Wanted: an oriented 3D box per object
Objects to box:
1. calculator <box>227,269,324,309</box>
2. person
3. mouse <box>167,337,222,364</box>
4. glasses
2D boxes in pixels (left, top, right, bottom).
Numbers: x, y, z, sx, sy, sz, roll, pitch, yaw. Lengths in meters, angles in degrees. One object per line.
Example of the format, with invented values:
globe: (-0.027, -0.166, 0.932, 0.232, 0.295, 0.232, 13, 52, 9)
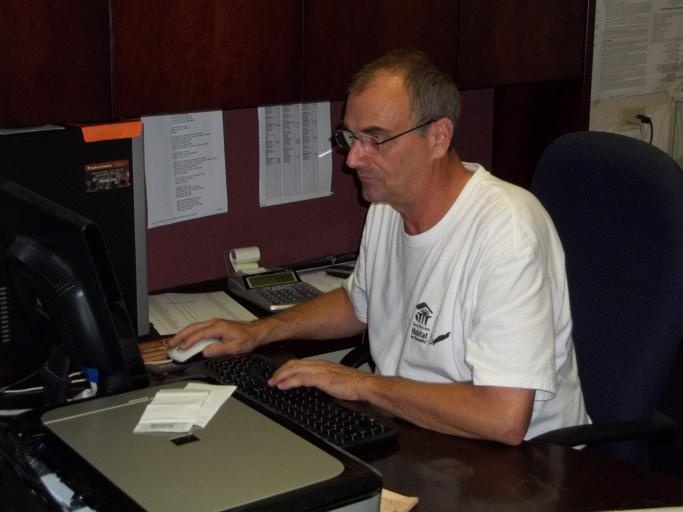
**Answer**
calculator: (-0.237, 0.104, 1.936, 0.161, 0.066, 0.207, -9, 21, -35)
person: (0.214, 0.080, 1.640, 0.867, 1.156, 0.766, 8, 18, 4)
mouse: (-0.402, 0.233, 1.522, 0.101, 0.028, 0.058, -23, 32, -38)
glasses: (0.114, -0.322, 1.494, 0.175, 0.055, 0.166, -26, 25, -29)
